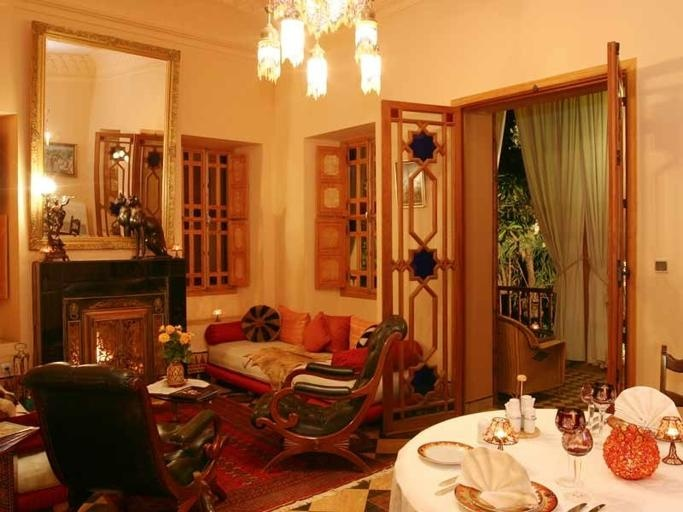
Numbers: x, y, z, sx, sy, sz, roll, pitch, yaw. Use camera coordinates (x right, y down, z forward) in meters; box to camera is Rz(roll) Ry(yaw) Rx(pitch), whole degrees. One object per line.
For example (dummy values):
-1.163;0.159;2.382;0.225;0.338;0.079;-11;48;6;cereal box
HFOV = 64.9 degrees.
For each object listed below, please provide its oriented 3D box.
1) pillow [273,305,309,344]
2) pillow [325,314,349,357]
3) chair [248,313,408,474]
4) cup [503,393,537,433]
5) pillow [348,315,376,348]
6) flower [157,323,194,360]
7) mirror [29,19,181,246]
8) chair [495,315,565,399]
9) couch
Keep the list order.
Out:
-0.688;0.940;7.316;0.160;0.350;0.455;-6;5;-38;pillow
-0.056;0.997;6.635;0.374;0.333;0.182;-2;8;45;pillow
-0.119;1.170;4.758;1.267;1.297;0.944;2;-2;-4;chair
0.972;0.857;2.981;0.161;0.197;0.192;2;-1;-18;cup
0.224;0.874;6.215;0.152;0.431;0.446;4;-5;-20;pillow
-1.704;0.888;5.486;0.290;0.327;0.404;-4;2;-28;flower
-2.756;-1.365;6.441;1.703;2.487;0.283;-5;2;-35;mirror
2.158;1.134;6.396;0.773;0.905;0.772;-3;4;-25;chair
-0.508;1.261;6.621;2.877;1.212;1.101;1;-2;44;couch
